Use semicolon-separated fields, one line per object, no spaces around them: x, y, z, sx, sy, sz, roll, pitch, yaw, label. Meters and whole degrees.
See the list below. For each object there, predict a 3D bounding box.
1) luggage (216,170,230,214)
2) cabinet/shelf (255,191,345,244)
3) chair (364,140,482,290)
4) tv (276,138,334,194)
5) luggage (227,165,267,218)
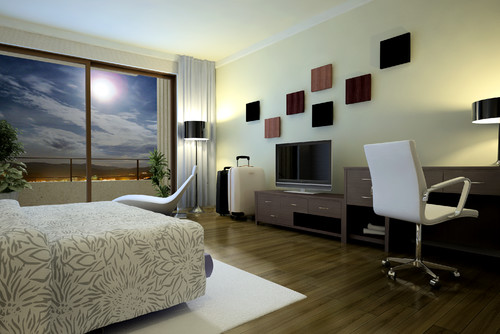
-0.479;0.442;5.741;0.333;0.771;0.282;1;1;-37;luggage
0.705;0.630;4.461;1.295;0.444;0.391;4;4;30;cabinet/shelf
1.650;0.423;3.003;0.945;1.194;0.784;4;-3;-27;chair
0.825;-0.017;4.692;0.295;0.763;1.062;2;-1;-41;tv
-0.050;0.401;5.326;0.601;0.818;0.281;-1;10;-4;luggage
